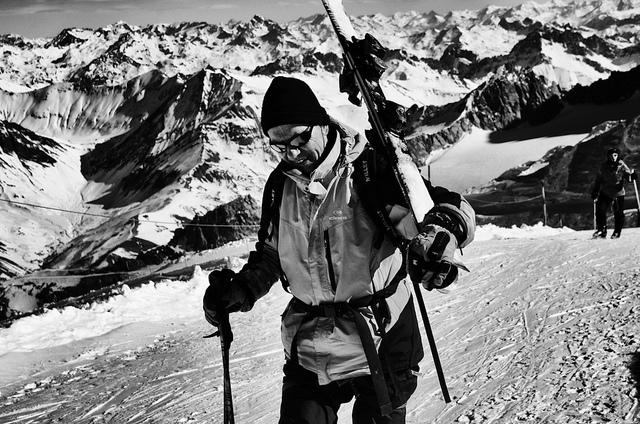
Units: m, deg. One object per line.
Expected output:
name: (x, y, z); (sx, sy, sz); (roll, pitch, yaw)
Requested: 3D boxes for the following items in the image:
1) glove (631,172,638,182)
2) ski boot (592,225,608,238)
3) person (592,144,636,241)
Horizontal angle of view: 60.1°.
glove: (9.372, -1.061, 16.557); (0.119, 0.251, 0.920); (-1, 1, 33)
ski boot: (8.336, 0.591, 16.482); (0.248, 0.498, 0.698); (-7, -14, 36)
person: (8.651, -0.596, 16.443); (0.988, 2.606, 1.216); (-1, 1, 26)
